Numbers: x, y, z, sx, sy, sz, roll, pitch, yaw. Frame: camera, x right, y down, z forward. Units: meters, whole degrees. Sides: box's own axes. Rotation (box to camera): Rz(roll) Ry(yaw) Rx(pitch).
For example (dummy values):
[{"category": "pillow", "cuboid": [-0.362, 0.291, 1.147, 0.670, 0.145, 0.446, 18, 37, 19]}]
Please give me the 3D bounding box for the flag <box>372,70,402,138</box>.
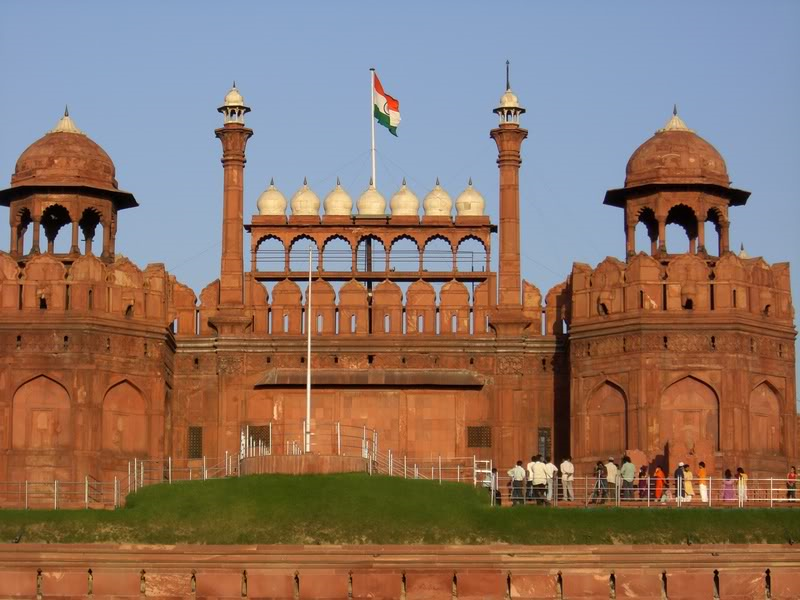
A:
[{"category": "flag", "cuboid": [-0.535, -7.146, 100.904, 0.889, 2.552, 1.636, -1, -15, -2]}]
